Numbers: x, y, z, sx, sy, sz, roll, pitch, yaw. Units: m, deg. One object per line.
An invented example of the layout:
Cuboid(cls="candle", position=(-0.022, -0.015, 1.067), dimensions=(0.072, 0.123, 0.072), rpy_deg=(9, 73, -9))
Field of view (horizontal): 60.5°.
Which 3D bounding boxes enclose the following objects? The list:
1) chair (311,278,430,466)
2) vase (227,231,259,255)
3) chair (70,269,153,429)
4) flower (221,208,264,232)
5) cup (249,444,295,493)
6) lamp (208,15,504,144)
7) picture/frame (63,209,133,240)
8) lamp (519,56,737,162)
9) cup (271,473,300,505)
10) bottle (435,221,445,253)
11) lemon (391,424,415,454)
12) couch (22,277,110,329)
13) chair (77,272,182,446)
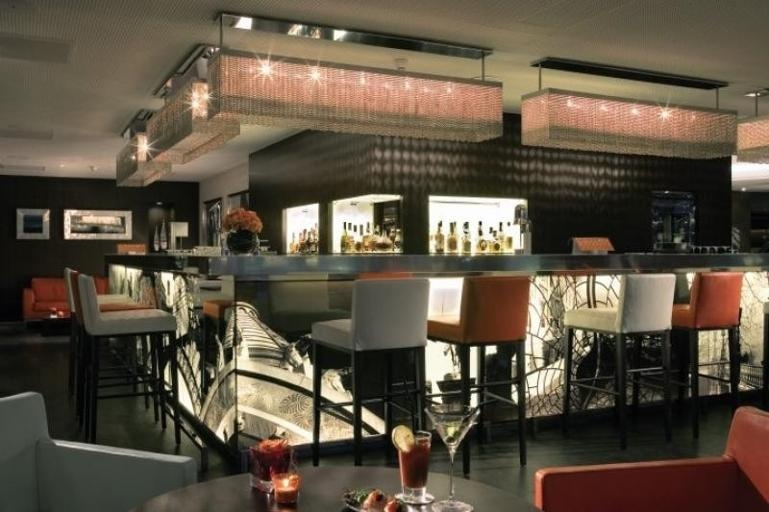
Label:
Cuboid(cls="chair", position=(-0.114, 0.885, 5.099), dimensions=(0.898, 1.435, 0.773), rpy_deg=(0, -1, 2))
Cuboid(cls="vase", position=(-1.245, -0.100, 5.737), dimensions=(0.213, 0.152, 0.220), rpy_deg=(5, -9, -28))
Cuboid(cls="chair", position=(-2.462, 0.758, 6.041), dimensions=(0.790, 1.195, 0.754), rpy_deg=(1, 7, -23))
Cuboid(cls="flower", position=(-1.228, -0.294, 5.745), dimensions=(0.237, 0.206, 0.237), rpy_deg=(3, -1, 10))
Cuboid(cls="cup", position=(-0.555, 1.015, 3.251), dimensions=(0.210, 0.221, 0.213), rpy_deg=(2, -2, 0))
Cuboid(cls="lamp", position=(-0.225, -1.399, 5.852), dimensions=(2.560, 0.579, 0.234), rpy_deg=(1, -1, -18))
Cuboid(cls="picture/frame", position=(-5.943, -0.627, 13.631), dimensions=(1.274, 0.623, 0.096), rpy_deg=(1, -2, -30))
Cuboid(cls="lamp", position=(2.610, -1.492, 6.924), dimensions=(2.518, 0.848, 0.519), rpy_deg=(0, 3, -22))
Cuboid(cls="cup", position=(-0.454, 1.104, 3.159), dimensions=(0.143, 0.148, 0.093), rpy_deg=(1, -2, -33))
Cuboid(cls="bottle", position=(0.704, -0.248, 8.425), dimensions=(0.135, 0.426, 0.409), rpy_deg=(0, -1, 4))
Cuboid(cls="lemon", position=(0.095, 0.884, 3.222), dimensions=(0.114, 0.129, 0.115), rpy_deg=(0, -1, 3))
Cuboid(cls="couch", position=(-4.510, 0.681, 9.209), dimensions=(1.079, 0.763, 0.581), rpy_deg=(2, -4, -32))
Cuboid(cls="chair", position=(-2.581, 0.854, 6.290), dimensions=(0.755, 1.346, 1.927), rpy_deg=(0, 1, -27))
